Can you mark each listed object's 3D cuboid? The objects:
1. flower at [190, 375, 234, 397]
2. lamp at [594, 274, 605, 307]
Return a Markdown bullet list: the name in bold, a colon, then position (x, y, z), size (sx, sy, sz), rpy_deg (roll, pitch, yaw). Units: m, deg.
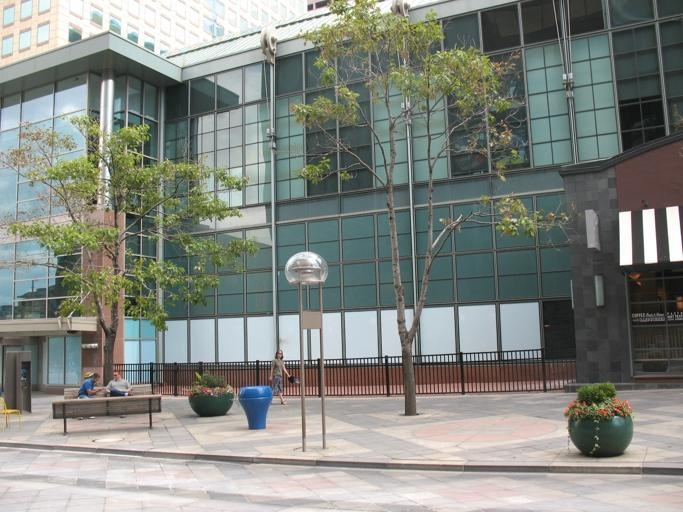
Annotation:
- **flower**: position (-4.242, 4.272, 21.611), size (0.916, 0.506, 0.881), rpy_deg (4, -9, -3)
- **lamp**: position (9.028, 1.211, 23.214), size (0.351, 1.114, 0.225), rpy_deg (-7, -7, 20)
